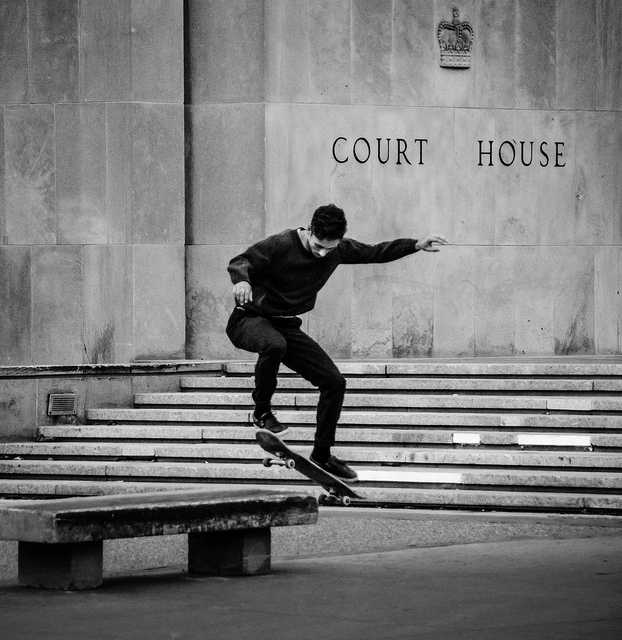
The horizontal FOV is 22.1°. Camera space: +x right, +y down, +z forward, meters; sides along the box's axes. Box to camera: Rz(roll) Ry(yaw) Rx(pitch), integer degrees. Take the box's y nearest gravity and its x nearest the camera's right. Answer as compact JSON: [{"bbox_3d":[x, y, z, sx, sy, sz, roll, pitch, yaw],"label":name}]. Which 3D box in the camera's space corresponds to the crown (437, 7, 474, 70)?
[{"bbox_3d":[1.626,-3.136,17.531,0.376,0.678,0.201,-4,9,-5],"label":"crown"}]
